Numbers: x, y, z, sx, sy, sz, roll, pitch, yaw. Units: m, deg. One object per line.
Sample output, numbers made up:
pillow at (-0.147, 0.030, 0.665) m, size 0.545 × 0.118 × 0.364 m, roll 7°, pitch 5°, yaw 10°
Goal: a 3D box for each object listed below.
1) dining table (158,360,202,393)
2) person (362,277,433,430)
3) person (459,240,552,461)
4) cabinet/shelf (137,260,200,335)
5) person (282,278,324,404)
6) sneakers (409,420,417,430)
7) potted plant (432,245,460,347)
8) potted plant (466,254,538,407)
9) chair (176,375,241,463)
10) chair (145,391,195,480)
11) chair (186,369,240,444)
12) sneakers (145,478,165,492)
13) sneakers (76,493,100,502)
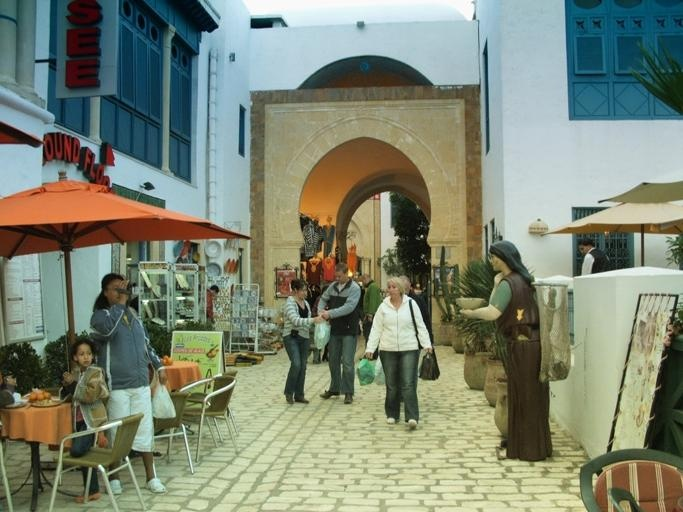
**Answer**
dining table at (-2.282, 1.697, 10.461) m, size 0.447 × 0.277 × 0.493 m, roll 1°, pitch -4°, yaw 5°
person at (0.865, 1.436, 11.041) m, size 0.939 × 2.157 × 0.578 m, roll 2°, pitch 5°, yaw 37°
person at (2.251, 1.203, 9.305) m, size 0.773 × 2.758 × 0.392 m, roll 0°, pitch 4°, yaw 17°
cabinet/shelf at (-3.693, 0.761, 15.319) m, size 1.056 × 1.595 × 1.077 m, roll -4°, pitch 16°, yaw -25°
person at (-0.719, 1.457, 12.555) m, size 0.589 × 2.090 × 1.129 m, roll -1°, pitch 4°, yaw -5°
sneakers at (1.030, 2.457, 10.735) m, size 0.137 × 0.146 × 0.180 m, roll -1°, pitch 4°, yaw 5°
potted plant at (2.908, 0.864, 20.631) m, size 0.564 × 2.414 × 0.617 m, roll -2°, pitch 24°, yaw 5°
potted plant at (2.005, 0.465, 9.476) m, size 0.723 × 1.340 × 0.848 m, roll 8°, pitch 13°, yaw 30°
chair at (-1.878, 2.131, 10.269) m, size 0.883 × 1.488 × 1.115 m, roll 4°, pitch -3°, yaw -19°
chair at (-2.306, 2.314, 9.573) m, size 0.683 × 1.005 × 0.723 m, roll 1°, pitch -11°, yaw -37°
chair at (-1.812, 2.104, 9.887) m, size 0.568 × 0.909 × 0.662 m, roll 2°, pitch 0°, yaw -33°
sneakers at (-2.198, 2.691, 8.601) m, size 0.111 × 0.103 × 0.223 m, roll 1°, pitch -3°, yaw -44°
sneakers at (-2.891, 2.765, 8.329) m, size 0.227 × 0.115 × 0.128 m, roll 8°, pitch -10°, yaw -5°
